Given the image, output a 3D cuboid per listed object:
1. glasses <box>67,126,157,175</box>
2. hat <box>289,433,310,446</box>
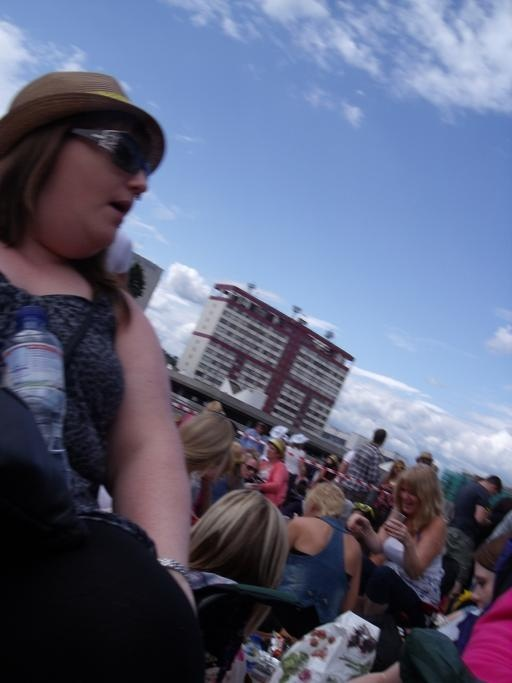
[{"bbox_3d":[-0.268,-0.358,1.007,0.118,0.030,0.094,25,1,7],"label":"glasses"},{"bbox_3d":[0.911,2.206,11.885,0.403,0.342,0.282,13,3,-18],"label":"hat"}]
